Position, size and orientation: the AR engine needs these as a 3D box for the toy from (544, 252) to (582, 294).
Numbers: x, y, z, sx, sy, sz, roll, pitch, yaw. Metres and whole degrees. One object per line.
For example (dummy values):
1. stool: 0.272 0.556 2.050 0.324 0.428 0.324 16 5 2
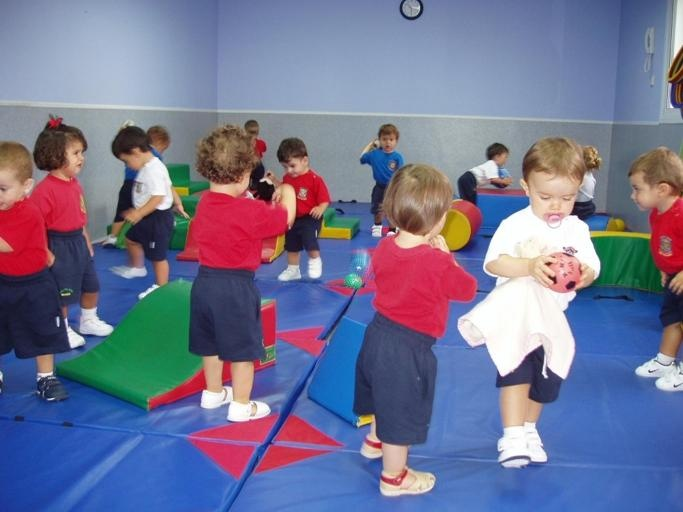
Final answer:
1. toy: 0.879 0.067 2.111 0.176 0.160 0.070 -8 14 -24

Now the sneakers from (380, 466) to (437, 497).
1. sneakers: 0.272 0.915 2.156 0.192 0.084 0.104 -3 4 -10

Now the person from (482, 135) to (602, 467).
1. person: 0.800 0.209 2.252 0.548 1.370 0.374 -10 15 -31

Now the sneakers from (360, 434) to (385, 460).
1. sneakers: 0.134 0.842 2.410 0.065 0.094 0.143 5 8 26

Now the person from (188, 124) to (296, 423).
1. person: -0.503 0.084 2.596 0.378 1.391 0.376 5 15 29

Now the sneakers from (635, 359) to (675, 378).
1. sneakers: 1.787 0.651 3.123 0.253 0.103 0.093 -1 7 5

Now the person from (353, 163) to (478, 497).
1. person: 0.275 0.297 2.146 0.417 1.292 0.314 -6 13 -18

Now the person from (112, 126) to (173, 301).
1. person: -1.558 -0.325 4.247 0.459 1.305 0.426 0 13 -26

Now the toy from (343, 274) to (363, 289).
1. toy: 0.107 0.203 4.623 0.120 0.069 0.122 1 31 4

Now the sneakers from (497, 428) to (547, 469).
1. sneakers: 0.769 0.800 2.290 0.123 0.142 0.296 -1 1 8

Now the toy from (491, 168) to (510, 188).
1. toy: 2.205 -1.044 7.282 0.255 0.348 0.133 9 1 27

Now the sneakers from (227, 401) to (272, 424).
1. sneakers: -0.456 0.727 2.607 0.094 0.079 0.185 6 7 40

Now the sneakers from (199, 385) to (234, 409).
1. sneakers: -0.635 0.708 2.747 0.077 0.074 0.171 4 8 28
